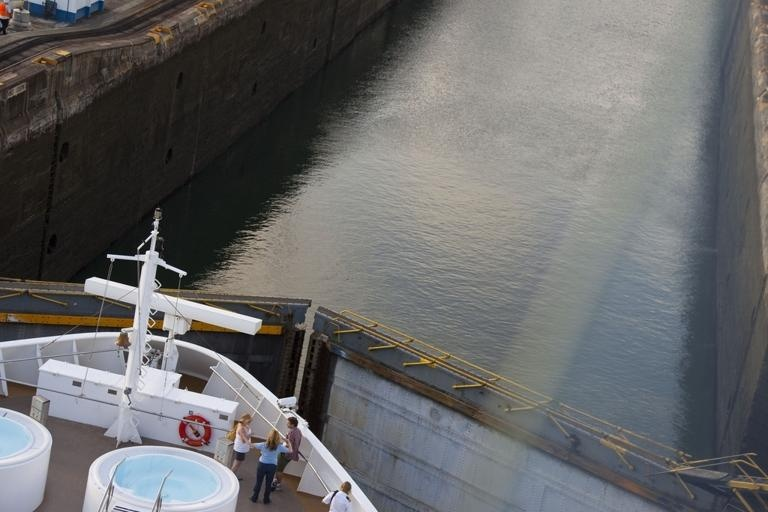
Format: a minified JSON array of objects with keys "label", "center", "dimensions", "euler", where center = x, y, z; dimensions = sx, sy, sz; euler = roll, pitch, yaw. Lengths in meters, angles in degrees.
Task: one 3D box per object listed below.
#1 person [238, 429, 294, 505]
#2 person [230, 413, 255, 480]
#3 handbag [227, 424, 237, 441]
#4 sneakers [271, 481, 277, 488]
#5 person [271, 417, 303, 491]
[{"label":"person","center":[-4.104,7.194,37.815],"dimensions":[0.828,2.829,0.819],"euler":[13,13,-6]},{"label":"person","center":[-5.071,6.766,38.422],"dimensions":[1.090,2.835,0.939],"euler":[-3,44,-17]},{"label":"handbag","center":[-5.427,6.187,38.345],"dimensions":[0.357,0.669,0.304],"euler":[9,18,-8]},{"label":"sneakers","center":[-3.939,8.088,38.673],"dimensions":[0.188,0.253,0.265],"euler":[5,43,-2]},{"label":"person","center":[-3.680,6.971,38.849],"dimensions":[1.279,2.510,1.001],"euler":[18,1,-7]}]
